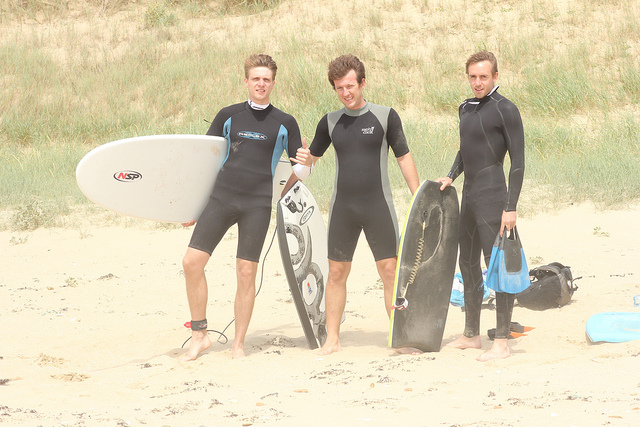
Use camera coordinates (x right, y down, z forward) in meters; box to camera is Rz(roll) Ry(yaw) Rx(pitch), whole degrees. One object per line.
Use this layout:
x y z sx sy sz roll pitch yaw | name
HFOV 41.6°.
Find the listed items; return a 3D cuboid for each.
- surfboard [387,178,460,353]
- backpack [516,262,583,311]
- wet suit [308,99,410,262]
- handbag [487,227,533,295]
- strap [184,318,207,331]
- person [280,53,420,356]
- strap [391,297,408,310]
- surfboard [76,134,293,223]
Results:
1.320 0.634 9.886 0.686 2.498 0.222 12 33 19 | surfboard
3.079 0.995 11.219 1.081 0.452 0.807 1 9 2 | backpack
0.421 -0.055 9.990 1.311 2.505 0.706 -1 7 5 | wet suit
2.138 0.553 9.577 0.458 0.783 0.169 1 8 12 | handbag
-1.474 1.326 10.033 0.190 0.075 0.141 1 2 35 | strap
0.494 -0.090 9.948 1.142 3.465 0.473 -1 8 -1 | person
0.909 1.027 9.557 0.115 0.175 0.093 23 2 28 | strap
-1.540 -0.430 10.162 2.856 0.946 0.401 1 11 6 | surfboard
